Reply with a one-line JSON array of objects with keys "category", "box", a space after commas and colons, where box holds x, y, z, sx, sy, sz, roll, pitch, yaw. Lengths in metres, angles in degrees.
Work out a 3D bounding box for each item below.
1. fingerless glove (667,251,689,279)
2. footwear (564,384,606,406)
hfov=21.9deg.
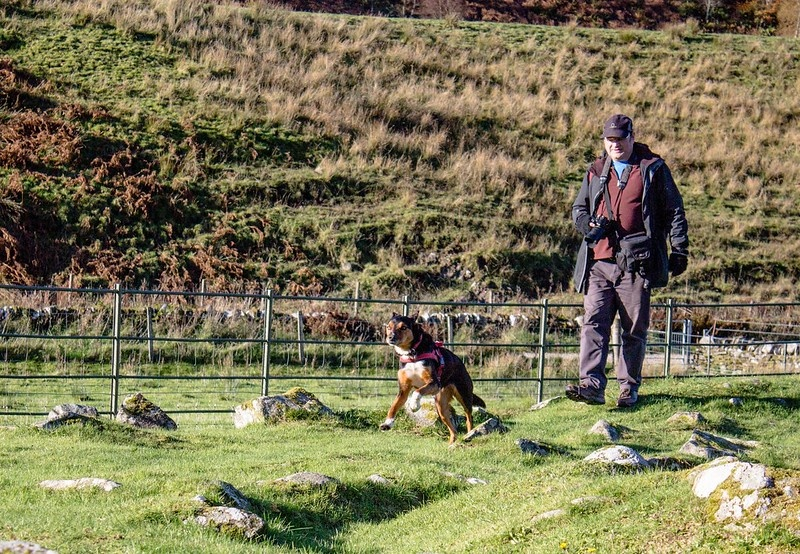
[{"category": "fingerless glove", "box": [8.249, -0.367, 60.715, 0.564, 0.667, 0.753, -2, 1, 38]}, {"category": "footwear", "box": [5.496, 3.496, 61.075, 1.173, 0.570, 0.609, 21, 18, 0]}]
